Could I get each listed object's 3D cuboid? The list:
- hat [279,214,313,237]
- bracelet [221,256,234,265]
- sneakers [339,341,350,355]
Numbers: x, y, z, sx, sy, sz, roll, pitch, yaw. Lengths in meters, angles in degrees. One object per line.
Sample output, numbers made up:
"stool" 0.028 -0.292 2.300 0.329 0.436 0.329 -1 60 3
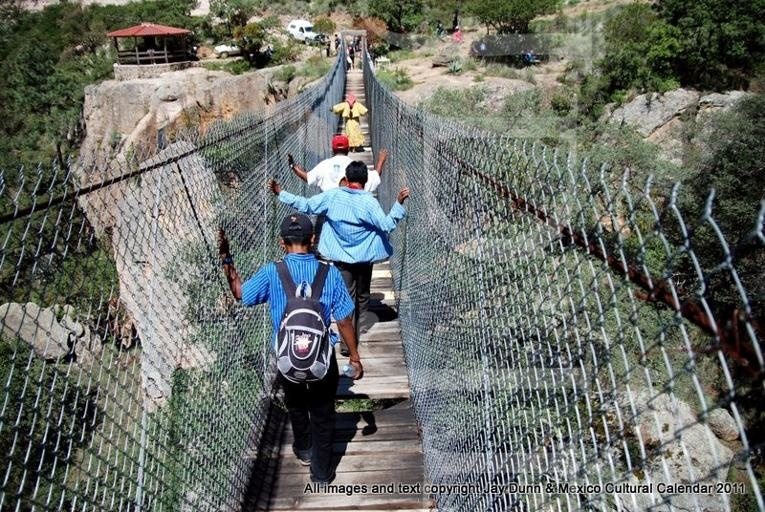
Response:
"hat" -0.824 -0.309 5.969 0.291 0.174 0.267 -3 41 -3
"bracelet" -1.506 0.054 6.054 0.106 0.118 0.073 -2 16 -9
"sneakers" -0.465 1.097 7.293 0.146 0.109 0.221 0 0 -3
